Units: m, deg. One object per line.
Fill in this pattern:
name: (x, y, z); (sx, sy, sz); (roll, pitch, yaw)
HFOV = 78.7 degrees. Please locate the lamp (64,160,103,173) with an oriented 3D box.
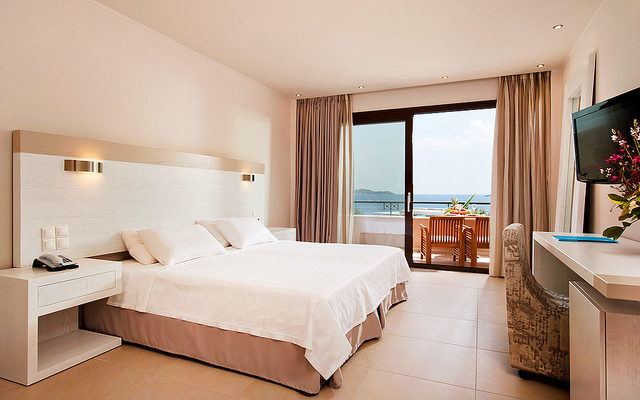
lamp: (-2.495, -0.365, 4.155); (0.095, 0.125, 0.331); (2, 4, 45)

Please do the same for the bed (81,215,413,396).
bed: (-0.750, 1.033, 4.054); (2.132, 0.757, 2.118); (0, -1, 25)

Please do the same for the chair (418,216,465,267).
chair: (2.305, 0.701, 7.161); (0.817, 0.901, 0.715); (0, 6, 10)

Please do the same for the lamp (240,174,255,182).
lamp: (-1.084, -0.343, 6.021); (0.089, 0.115, 0.310); (0, 3, 24)

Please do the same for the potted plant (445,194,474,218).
potted plant: (2.834, 0.116, 7.945); (0.635, 0.288, 0.456); (-3, -1, -39)
